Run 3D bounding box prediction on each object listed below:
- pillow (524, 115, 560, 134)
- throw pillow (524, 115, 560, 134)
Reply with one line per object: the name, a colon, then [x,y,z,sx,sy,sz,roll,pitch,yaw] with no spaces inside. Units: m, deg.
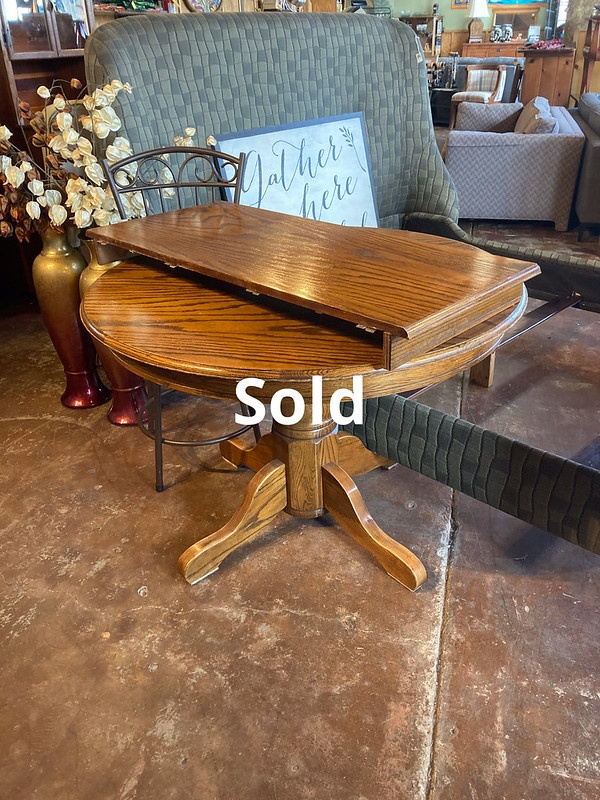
pillow: [1.869,-2.142,4.313,0.278,0.118,0.214,20,37,30]
throw pillow: [1.869,-2.142,4.313,0.278,0.118,0.214,20,37,30]
